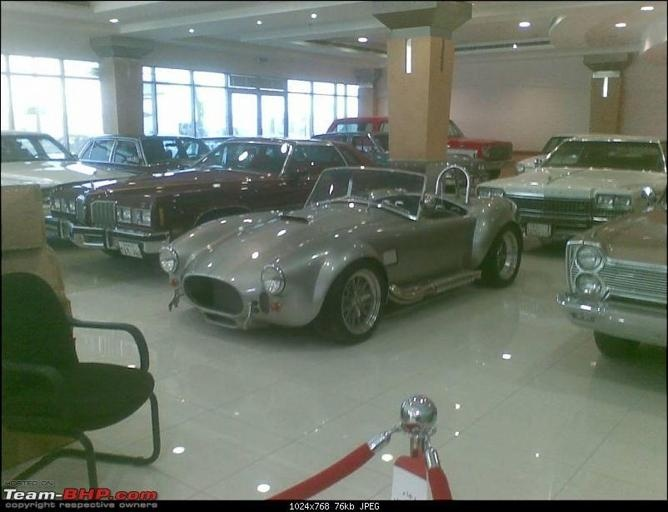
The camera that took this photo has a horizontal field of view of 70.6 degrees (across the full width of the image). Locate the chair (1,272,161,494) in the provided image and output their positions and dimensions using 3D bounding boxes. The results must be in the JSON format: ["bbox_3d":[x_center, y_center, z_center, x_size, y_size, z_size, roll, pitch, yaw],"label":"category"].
[{"bbox_3d":[-0.874,0.404,1.555,0.504,0.682,0.352,1,14,18],"label":"chair"}]

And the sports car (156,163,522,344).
[{"bbox_3d":[0.195,-0.040,2.791,1.785,0.676,1.013,-6,6,-38],"label":"sports car"}]

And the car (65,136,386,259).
[{"bbox_3d":[-0.877,-0.467,3.774,2.085,0.688,1.085,-7,10,-42],"label":"car"}]
